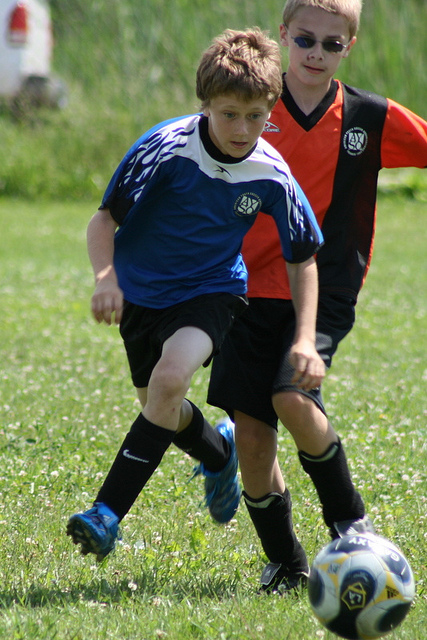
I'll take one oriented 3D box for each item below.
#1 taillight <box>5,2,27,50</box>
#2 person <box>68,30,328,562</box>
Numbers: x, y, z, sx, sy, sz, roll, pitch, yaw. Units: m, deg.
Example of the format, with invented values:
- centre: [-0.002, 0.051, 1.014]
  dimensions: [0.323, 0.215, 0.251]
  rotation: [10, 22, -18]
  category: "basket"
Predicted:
- centre: [-0.595, -0.894, 2.040]
  dimensions: [0.052, 0.134, 0.082]
  rotation: [12, 23, -1]
  category: "taillight"
- centre: [0.003, -0.162, 2.115]
  dimensions: [0.838, 1.419, 0.948]
  rotation: [9, 23, -6]
  category: "person"
